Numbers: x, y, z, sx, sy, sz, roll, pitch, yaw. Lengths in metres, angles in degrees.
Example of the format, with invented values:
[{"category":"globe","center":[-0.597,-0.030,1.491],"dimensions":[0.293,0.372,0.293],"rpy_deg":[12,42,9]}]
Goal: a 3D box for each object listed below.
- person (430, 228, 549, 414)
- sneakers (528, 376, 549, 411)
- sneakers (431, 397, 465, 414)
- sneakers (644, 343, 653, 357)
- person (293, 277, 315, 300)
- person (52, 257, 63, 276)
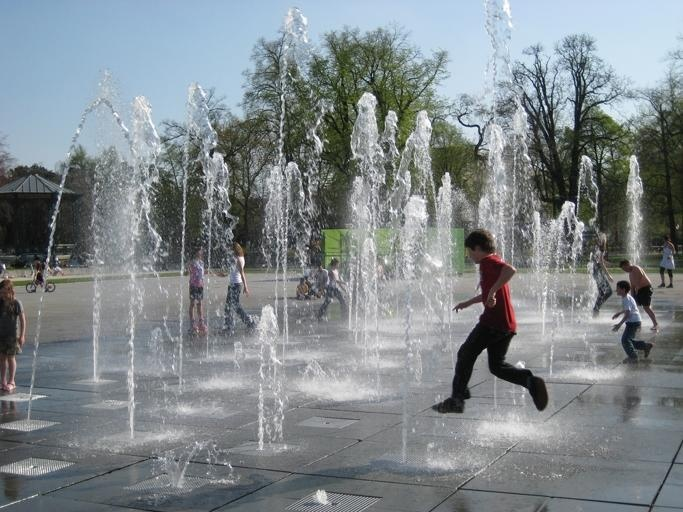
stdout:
[{"category":"person","center":[1.553,0.686,7.984],"dimensions":[1.127,1.968,0.903],"rpy_deg":[-3,-2,14]},{"category":"sneakers","center":[2.031,1.378,7.731],"dimensions":[0.172,0.384,0.183],"rpy_deg":[-10,-5,-11]},{"category":"sneakers","center":[1.111,1.543,7.761],"dimensions":[0.373,0.162,0.139],"rpy_deg":[2,-6,-2]},{"category":"sneakers","center":[4.702,1.434,11.513],"dimensions":[0.095,0.227,0.077],"rpy_deg":[5,8,3]},{"category":"person","center":[-1.173,1.119,24.885],"dimensions":[0.544,0.756,0.295],"rpy_deg":[2,-11,31]},{"category":"person","center":[-18.749,0.705,49.257],"dimensions":[0.828,0.994,1.706],"rpy_deg":[-3,-6,-16]}]
